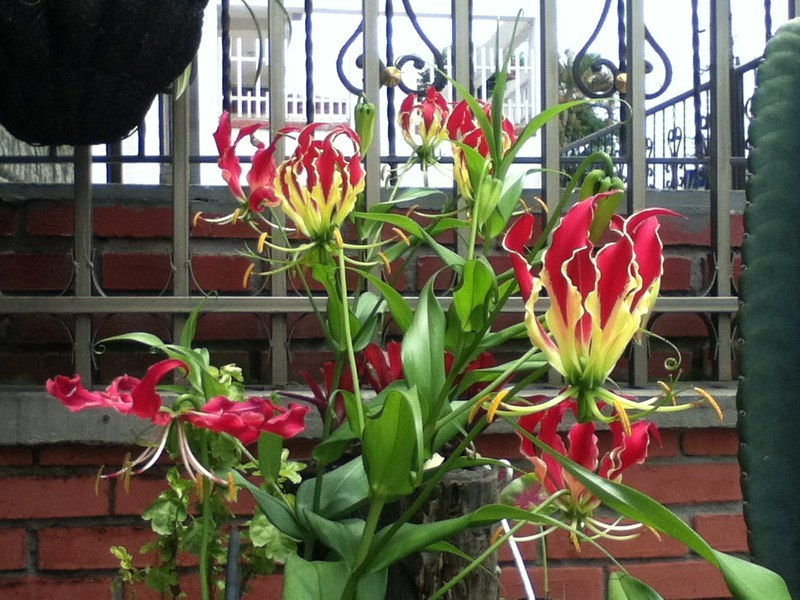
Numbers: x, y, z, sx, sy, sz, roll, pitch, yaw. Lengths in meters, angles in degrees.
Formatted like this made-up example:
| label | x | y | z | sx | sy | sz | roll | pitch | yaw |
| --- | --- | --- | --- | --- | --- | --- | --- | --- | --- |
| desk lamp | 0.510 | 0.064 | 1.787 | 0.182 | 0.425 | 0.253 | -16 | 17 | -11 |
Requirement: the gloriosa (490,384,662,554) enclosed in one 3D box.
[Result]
| label | x | y | z | sx | sy | sz | roll | pitch | yaw |
| --- | --- | --- | --- | --- | --- | --- | --- | --- | --- |
| gloriosa | 0.279 | 0.277 | 1.703 | 0.226 | 0.250 | 0.247 | -7 | -31 | 27 |

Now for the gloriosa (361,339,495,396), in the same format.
| label | x | y | z | sx | sy | sz | roll | pitch | yaw |
| --- | --- | --- | --- | --- | --- | --- | --- | --- | --- |
| gloriosa | 0.013 | 0.125 | 1.805 | 0.120 | 0.054 | 0.125 | 17 | -1 | 38 |

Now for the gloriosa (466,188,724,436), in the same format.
| label | x | y | z | sx | sy | sz | roll | pitch | yaw |
| --- | --- | --- | --- | --- | --- | --- | --- | --- | --- |
| gloriosa | 0.282 | 0.007 | 1.592 | 0.254 | 0.330 | 0.296 | 0 | 8 | 10 |

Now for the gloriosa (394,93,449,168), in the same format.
| label | x | y | z | sx | sy | sz | roll | pitch | yaw |
| --- | --- | --- | --- | --- | --- | --- | --- | --- | --- |
| gloriosa | 0.040 | -0.300 | 1.948 | 0.072 | 0.169 | 0.064 | 0 | 1 | -24 |

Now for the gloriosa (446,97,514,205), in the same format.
| label | x | y | z | sx | sy | sz | roll | pitch | yaw |
| --- | --- | --- | --- | --- | --- | --- | --- | --- | --- |
| gloriosa | 0.131 | -0.247 | 1.771 | 0.113 | 0.173 | 0.204 | -1 | 1 | 6 |

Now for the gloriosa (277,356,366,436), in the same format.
| label | x | y | z | sx | sy | sz | roll | pitch | yaw |
| --- | --- | --- | --- | --- | --- | --- | --- | --- | --- |
| gloriosa | -0.128 | 0.174 | 1.822 | 0.123 | 0.087 | 0.123 | 6 | 5 | -40 |

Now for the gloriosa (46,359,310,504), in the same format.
| label | x | y | z | sx | sy | sz | roll | pitch | yaw |
| --- | --- | --- | --- | --- | --- | --- | --- | --- | --- |
| gloriosa | -0.345 | 0.206 | 1.683 | 0.340 | 0.200 | 0.364 | 16 | -5 | -42 |

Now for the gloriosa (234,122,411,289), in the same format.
| label | x | y | z | sx | sy | sz | roll | pitch | yaw |
| --- | --- | --- | --- | --- | --- | --- | --- | --- | --- |
| gloriosa | -0.144 | -0.169 | 1.775 | 0.203 | 0.263 | 0.307 | -14 | -10 | 33 |
